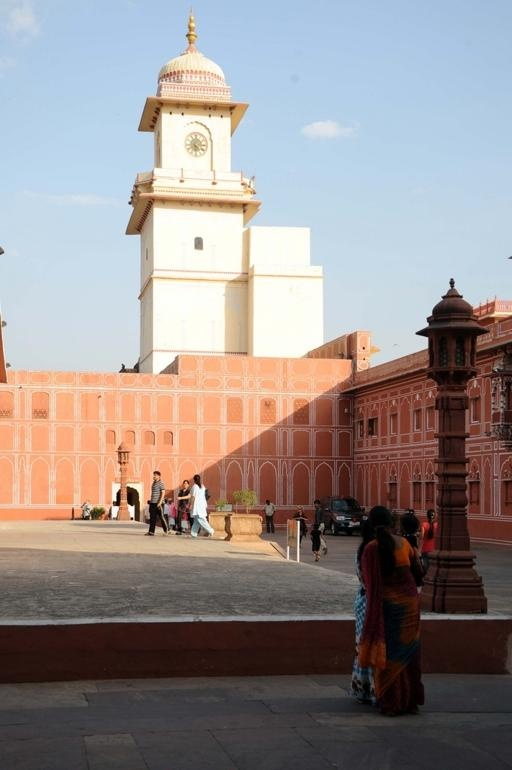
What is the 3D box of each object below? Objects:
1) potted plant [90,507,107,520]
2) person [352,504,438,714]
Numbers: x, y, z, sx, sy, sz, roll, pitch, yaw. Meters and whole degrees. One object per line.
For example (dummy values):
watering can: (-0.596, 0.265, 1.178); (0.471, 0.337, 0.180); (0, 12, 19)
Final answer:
potted plant: (-6.039, 4.868, 44.586); (0.458, 0.415, 0.770); (-1, -3, 3)
person: (0.831, 1.410, 7.400); (0.448, 1.271, 0.459); (-1, -3, 5)
